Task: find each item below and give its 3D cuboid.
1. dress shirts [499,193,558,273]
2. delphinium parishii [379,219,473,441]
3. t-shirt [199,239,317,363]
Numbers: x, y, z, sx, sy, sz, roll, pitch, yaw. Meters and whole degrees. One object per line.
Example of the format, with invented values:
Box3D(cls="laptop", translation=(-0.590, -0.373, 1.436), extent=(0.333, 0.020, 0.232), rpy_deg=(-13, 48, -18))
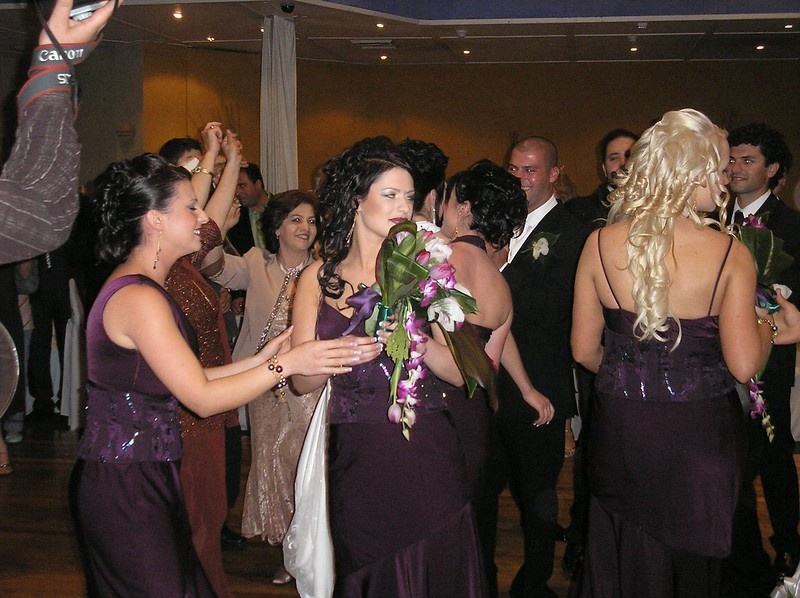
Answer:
Box3D(cls="dress shirts", translation=(0.696, -0.342, 3.711), extent=(0.158, 0.398, 0.297), rpy_deg=(20, 22, -22))
Box3D(cls="delphinium parishii", translation=(0.056, 0.082, 2.257), extent=(0.366, 0.655, 0.176), rpy_deg=(3, 5, 10))
Box3D(cls="t-shirt", translation=(-0.709, -0.001, 3.453), extent=(0.599, 0.585, 0.194), rpy_deg=(14, -34, -12))
